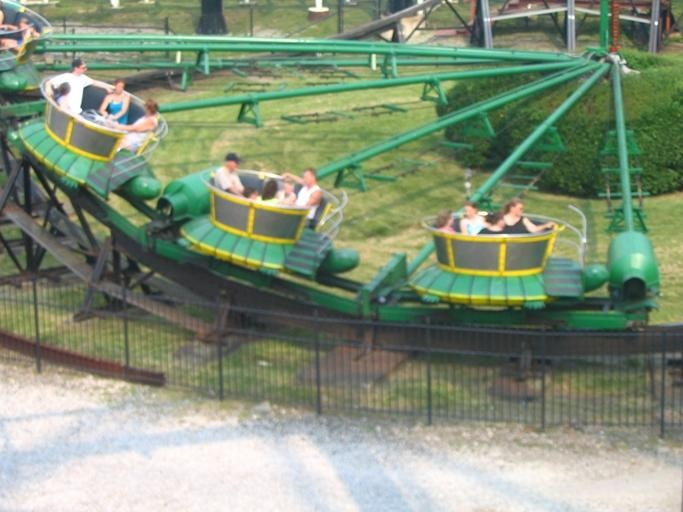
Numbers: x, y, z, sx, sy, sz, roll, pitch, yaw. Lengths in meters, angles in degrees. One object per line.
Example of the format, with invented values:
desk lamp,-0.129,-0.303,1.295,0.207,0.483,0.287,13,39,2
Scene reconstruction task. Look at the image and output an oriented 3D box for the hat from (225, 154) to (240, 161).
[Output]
hat,-2.595,-2.352,38.693,0.307,0.174,0.425,6,6,-2
